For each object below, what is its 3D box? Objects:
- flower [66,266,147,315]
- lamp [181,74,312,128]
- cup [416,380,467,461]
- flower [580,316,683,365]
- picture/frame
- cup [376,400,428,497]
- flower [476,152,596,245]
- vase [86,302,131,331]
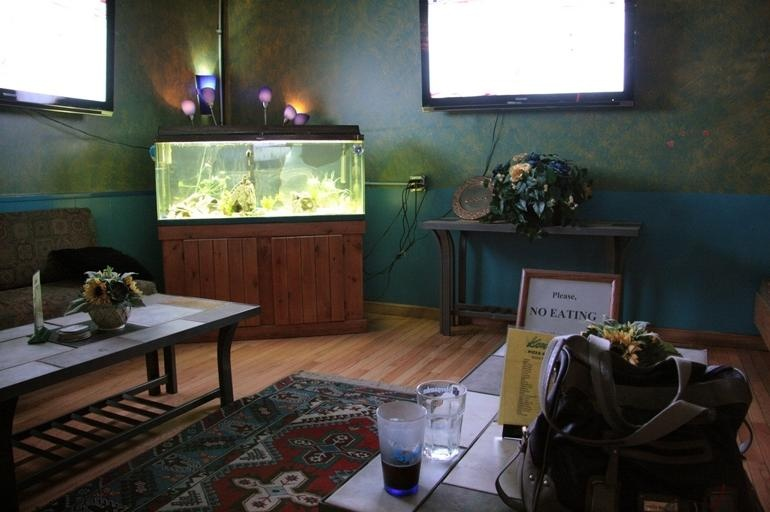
[{"bbox_3d":[-1.430,0.168,3.043,0.333,0.168,0.318,3,2,-1],"label":"flower"},{"bbox_3d":[-1.274,-1.413,5.110,1.034,0.476,0.597,-3,8,-14],"label":"lamp"},{"bbox_3d":[0.168,0.560,1.983,0.247,0.259,0.232,0,1,0],"label":"cup"},{"bbox_3d":[0.827,0.279,1.909,0.206,0.083,0.207,20,30,34],"label":"flower"},{"bbox_3d":[0.983,0.239,2.999,0.412,0.323,0.041,4,-8,24],"label":"picture/frame"},{"bbox_3d":[0.053,0.603,1.800,0.155,0.267,0.131,0,9,3],"label":"cup"},{"bbox_3d":[1.042,-0.451,4.026,0.691,0.428,0.649,-12,23,-29],"label":"flower"},{"bbox_3d":[-1.420,0.308,2.906,0.162,0.101,0.161,-2,-6,26],"label":"vase"}]
